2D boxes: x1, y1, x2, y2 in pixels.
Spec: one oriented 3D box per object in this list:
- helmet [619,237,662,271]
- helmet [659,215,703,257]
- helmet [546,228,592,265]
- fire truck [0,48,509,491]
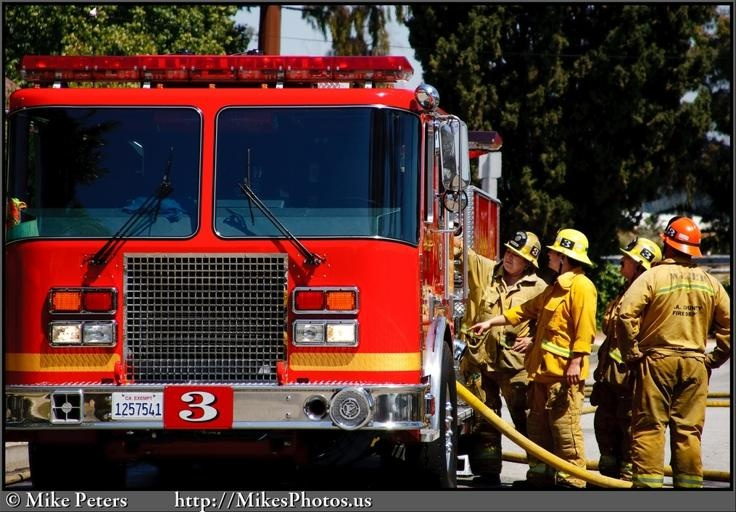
[{"bbox_3d":[2.943,-0.044,12.949,0.494,0.234,0.388,34,19,19],"label":"helmet"},{"bbox_3d":[3.179,-0.227,12.358,0.452,0.295,0.551,11,18,-10],"label":"helmet"},{"bbox_3d":[2.081,-0.122,12.597,0.496,0.289,0.569,15,10,-6],"label":"helmet"},{"bbox_3d":[-1.257,0.025,11.143,3.006,2.124,4.941,0,-3,6],"label":"fire truck"}]
